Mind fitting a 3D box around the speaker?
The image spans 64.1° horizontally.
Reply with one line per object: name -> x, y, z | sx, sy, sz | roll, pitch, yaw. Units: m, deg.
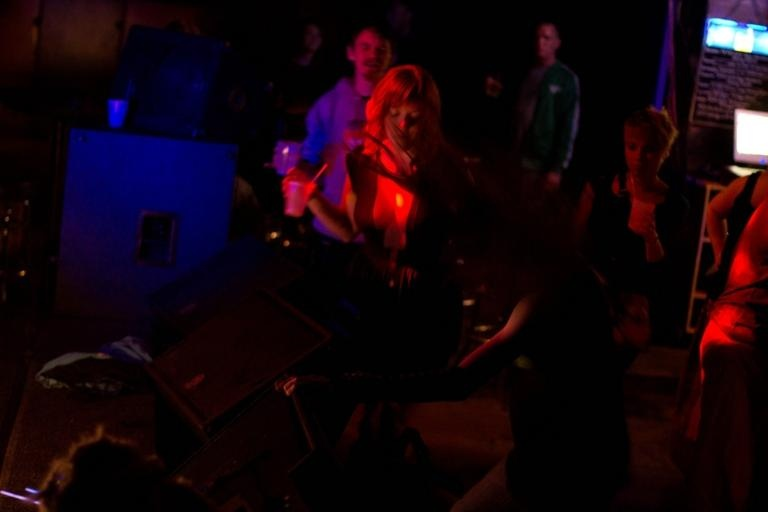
speaker -> -1.171, -0.141, 3.014 | 0.766, 0.903, 0.218 | 7, 11, -17
